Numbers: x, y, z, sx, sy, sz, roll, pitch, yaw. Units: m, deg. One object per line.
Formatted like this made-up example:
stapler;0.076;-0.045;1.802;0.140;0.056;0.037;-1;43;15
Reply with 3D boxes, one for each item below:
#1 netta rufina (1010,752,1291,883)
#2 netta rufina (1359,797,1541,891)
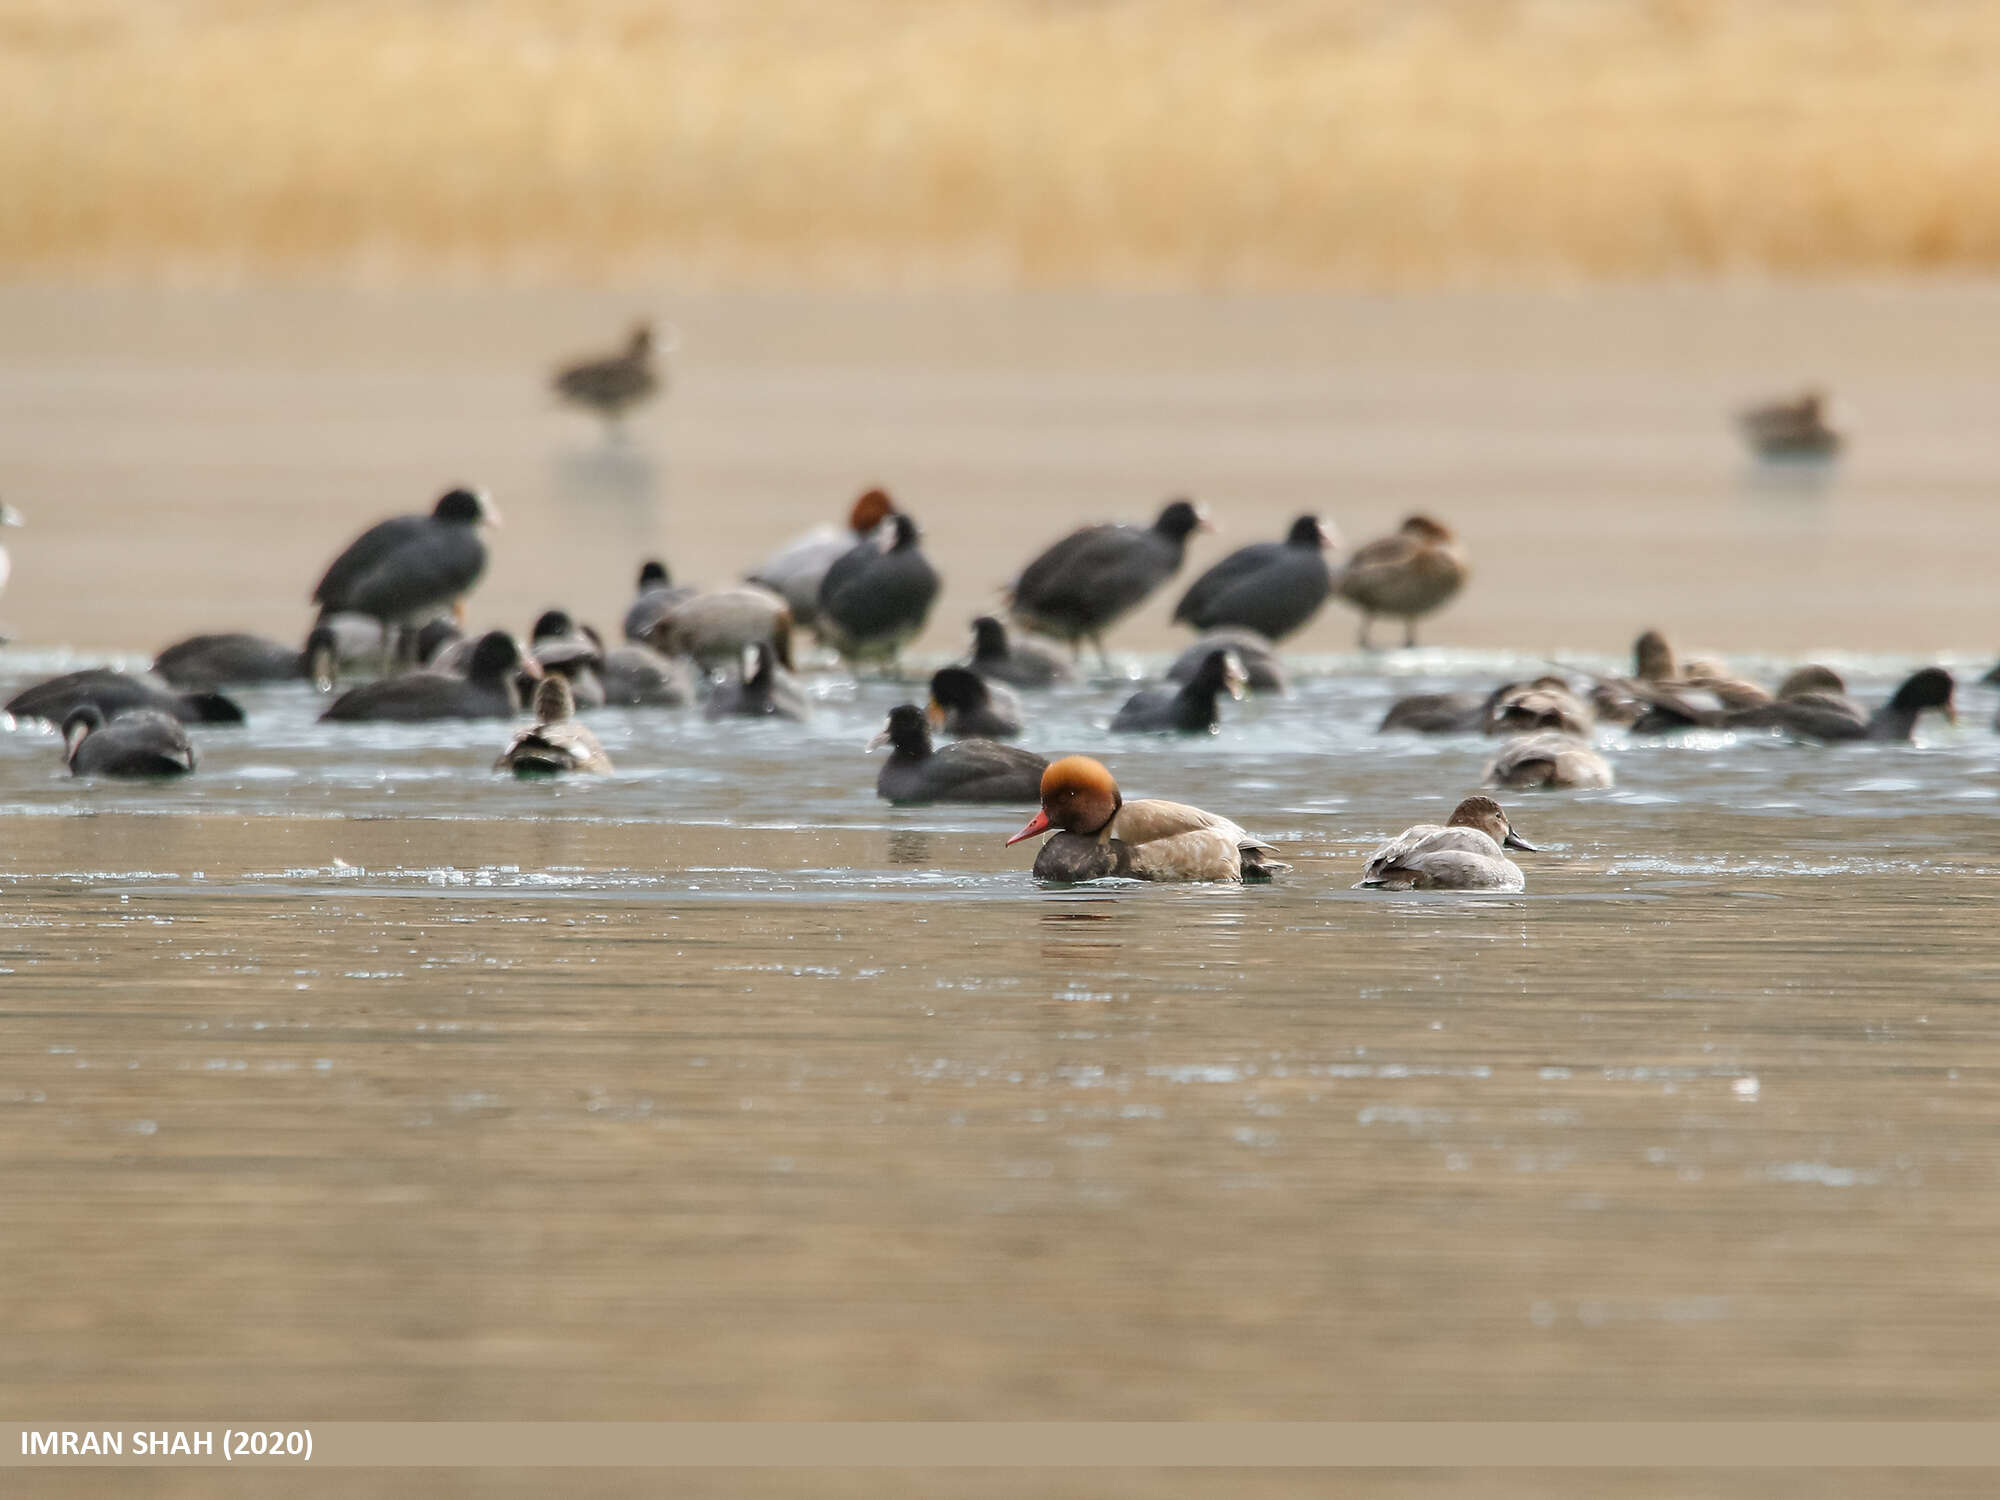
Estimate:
netta rufina;0.665;0.391;17.199;1.461;0.637;0.756;-4;13;-34
netta rufina;2.103;0.443;16.990;0.753;0.429;1.094;0;-1;6
